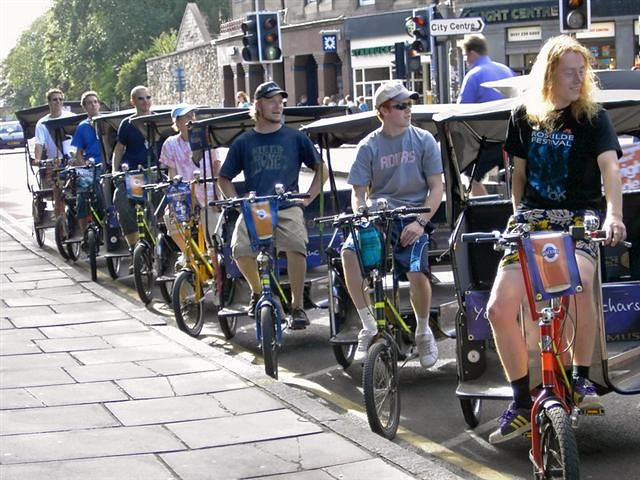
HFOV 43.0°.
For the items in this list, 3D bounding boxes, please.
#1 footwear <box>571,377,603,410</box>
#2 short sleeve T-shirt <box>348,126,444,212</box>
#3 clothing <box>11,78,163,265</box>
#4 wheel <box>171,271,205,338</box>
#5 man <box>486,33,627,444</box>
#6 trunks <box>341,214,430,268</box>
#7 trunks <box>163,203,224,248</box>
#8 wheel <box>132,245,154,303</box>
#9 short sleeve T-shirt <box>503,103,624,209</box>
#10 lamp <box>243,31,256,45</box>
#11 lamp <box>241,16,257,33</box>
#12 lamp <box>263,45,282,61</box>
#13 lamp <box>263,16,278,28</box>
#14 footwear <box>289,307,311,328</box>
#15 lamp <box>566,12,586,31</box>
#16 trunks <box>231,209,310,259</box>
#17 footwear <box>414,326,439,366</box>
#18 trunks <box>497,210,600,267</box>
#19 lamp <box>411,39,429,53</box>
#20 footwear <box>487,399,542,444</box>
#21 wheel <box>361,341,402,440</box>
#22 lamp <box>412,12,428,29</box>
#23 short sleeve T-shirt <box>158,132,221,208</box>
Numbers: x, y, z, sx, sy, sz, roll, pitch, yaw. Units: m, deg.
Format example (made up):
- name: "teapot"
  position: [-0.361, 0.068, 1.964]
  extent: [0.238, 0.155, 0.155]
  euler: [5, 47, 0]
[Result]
- name: "footwear"
  position: [1.627, 0.940, 4.920]
  extent: [0.110, 0.140, 0.294]
  euler: [-3, -5, 1]
- name: "short sleeve T-shirt"
  position: [0.654, -0.653, 7.042]
  extent: [0.775, 0.691, 0.466]
  euler: [-3, 23, 2]
- name: "clothing"
  position: [-3.818, -1.355, 14.835]
  extent: [1.859, 2.999, 4.557]
  euler: [-3, 4, -23]
- name: "wheel"
  position: [-1.439, 0.693, 8.802]
  extent: [0.154, 0.477, 0.499]
  euler: [-11, 46, 14]
- name: "man"
  position: [1.449, 0.050, 5.035]
  extent: [0.785, 2.631, 0.735]
  euler: [3, 8, 12]
- name: "trunks"
  position: [0.644, 0.031, 6.727]
  extent: [0.377, 0.412, 0.635]
  euler: [-2, -2, -5]
- name: "trunks"
  position: [-1.480, -0.185, 9.387]
  extent: [0.383, 0.435, 0.654]
  euler: [2, 12, 17]
- name: "wheel"
  position: [-2.297, 0.424, 10.486]
  extent: [0.149, 0.536, 0.515]
  euler: [-7, -36, 5]
- name: "short sleeve T-shirt"
  position: [1.508, -0.497, 5.120]
  extent: [0.718, 0.725, 0.416]
  euler: [5, 10, 29]
- name: "lamp"
  position: [-1.452, -4.053, 16.496]
  extent: [0.290, 0.251, 0.291]
  euler: [0, 8, -10]
- name: "lamp"
  position: [-1.476, -4.391, 16.422]
  extent: [0.316, 0.400, 0.276]
  euler: [0, -1, 19]
- name: "lamp"
  position: [-0.982, -3.821, 16.653]
  extent: [0.479, 0.313, 0.213]
  euler: [-5, 10, -40]
- name: "lamp"
  position: [-1.029, -4.366, 16.343]
  extent: [0.292, 0.178, 0.125]
  euler: [0, 8, -7]
- name: "footwear"
  position: [-0.213, 0.735, 7.712]
  extent: [0.232, 0.250, 0.575]
  euler: [-1, -9, -4]
- name: "lamp"
  position: [3.991, -3.423, 12.676]
  extent: [0.308, 0.283, 0.092]
  euler: [0, 8, -10]
- name: "trunks"
  position: [-0.375, -0.060, 7.624]
  extent: [0.501, 0.541, 0.217]
  euler: [-1, 16, -12]
- name: "footwear"
  position: [0.857, 0.879, 6.596]
  extent: [0.120, 0.355, 0.136]
  euler: [-18, -40, 21]
- name: "trunks"
  position: [1.438, -0.019, 5.079]
  extent: [0.343, 0.335, 0.555]
  euler: [-1, 2, 2]
- name: "lamp"
  position: [2.230, -4.312, 18.101]
  extent: [0.479, 0.276, 0.297]
  euler: [4, 8, 21]
- name: "footwear"
  position: [1.207, 1.116, 5.145]
  extent: [0.371, 0.217, 0.129]
  euler: [-19, 24, -2]
- name: "wheel"
  position: [0.429, 1.084, 5.808]
  extent: [0.164, 0.682, 0.630]
  euler: [-1, -6, 25]
- name: "lamp"
  position: [2.169, -4.805, 17.873]
  extent: [0.441, 0.446, 0.106]
  euler: [6, 9, 33]
- name: "short sleeve T-shirt"
  position: [-1.530, -0.864, 9.802]
  extent: [0.481, 0.645, 1.072]
  euler: [-12, 16, -39]
